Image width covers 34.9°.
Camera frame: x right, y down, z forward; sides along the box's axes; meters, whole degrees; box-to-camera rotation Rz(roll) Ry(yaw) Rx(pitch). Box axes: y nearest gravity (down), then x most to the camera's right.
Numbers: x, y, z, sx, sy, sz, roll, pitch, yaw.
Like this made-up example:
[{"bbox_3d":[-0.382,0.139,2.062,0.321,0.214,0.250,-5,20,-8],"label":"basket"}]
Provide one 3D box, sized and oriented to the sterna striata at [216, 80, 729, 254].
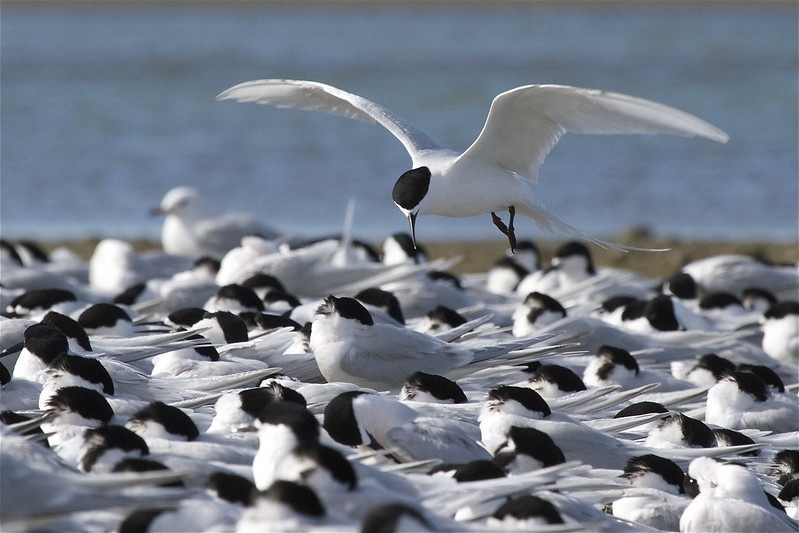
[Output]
[{"bbox_3d":[0.737,-0.827,12.583,4.091,1.076,2.136,8,30,37],"label":"sterna striata"}]
